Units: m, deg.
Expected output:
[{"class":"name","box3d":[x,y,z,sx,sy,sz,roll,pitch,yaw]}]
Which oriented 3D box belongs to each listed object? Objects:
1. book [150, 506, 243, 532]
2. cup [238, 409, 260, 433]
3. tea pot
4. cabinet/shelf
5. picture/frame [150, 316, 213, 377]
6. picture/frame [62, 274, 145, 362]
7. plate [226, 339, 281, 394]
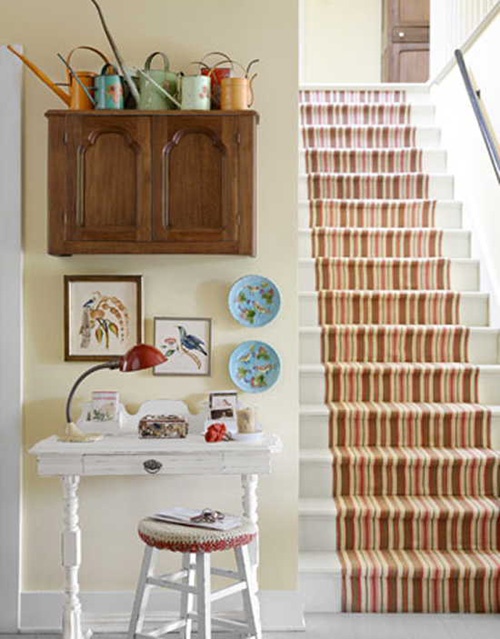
[{"class":"book","box3d":[-0.194,0.686,3.031,0.327,0.051,0.227,0,-2,0]},{"class":"cup","box3d":[-0.009,0.376,3.239,0.086,0.092,0.084,-1,4,0]},{"class":"tea pot","box3d":[-0.413,-1.010,3.334,0.893,0.508,0.447,0,-2,0]},{"class":"cabinet/shelf","box3d":[-0.404,-0.496,3.388,0.830,0.514,0.271,0,3,-12]},{"class":"picture/frame","box3d":[-0.277,0.119,3.495,0.255,0.237,0.018,0,-2,-2]},{"class":"picture/frame","box3d":[-0.585,0.004,3.488,0.367,0.398,0.032,0,-1,-1]},{"class":"plate","box3d":[0.015,0.200,3.508,0.203,0.205,0.036,0,-2,-1]}]
